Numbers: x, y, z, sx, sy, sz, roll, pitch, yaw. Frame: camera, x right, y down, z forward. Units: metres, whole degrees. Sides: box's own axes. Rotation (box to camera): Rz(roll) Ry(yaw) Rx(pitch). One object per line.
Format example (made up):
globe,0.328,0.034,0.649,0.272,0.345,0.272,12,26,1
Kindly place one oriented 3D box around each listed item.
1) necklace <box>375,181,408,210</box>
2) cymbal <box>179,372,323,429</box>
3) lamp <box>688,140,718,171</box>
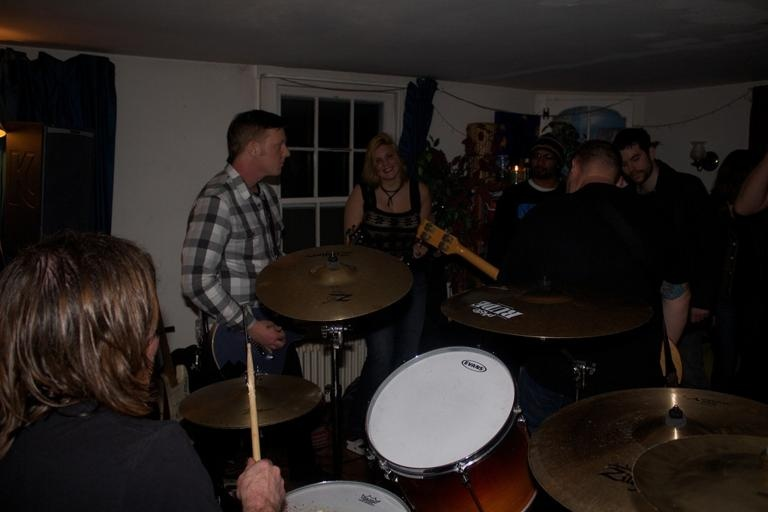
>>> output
necklace,0.067,-0.409,4.684,0.170,0.242,0.062,1,-24,1
cymbal,-0.664,0.732,3.261,0.410,0.103,0.418,12,20,32
lamp,2.711,-0.810,5.516,0.231,0.256,0.243,16,6,32
